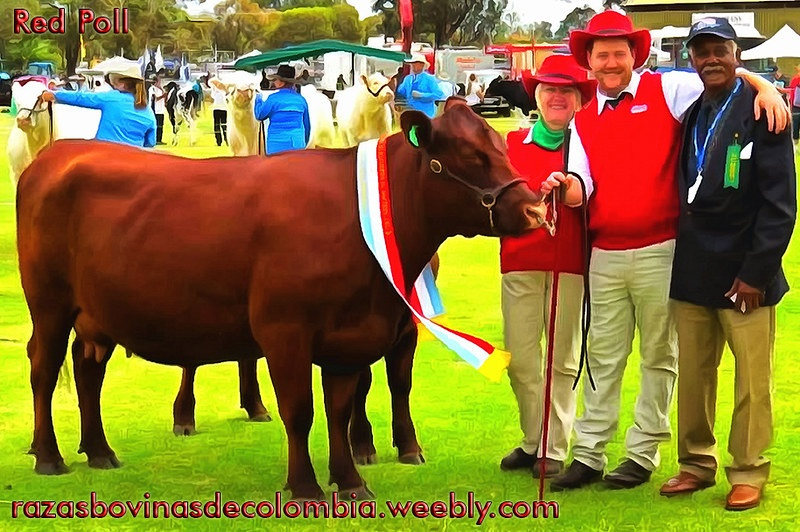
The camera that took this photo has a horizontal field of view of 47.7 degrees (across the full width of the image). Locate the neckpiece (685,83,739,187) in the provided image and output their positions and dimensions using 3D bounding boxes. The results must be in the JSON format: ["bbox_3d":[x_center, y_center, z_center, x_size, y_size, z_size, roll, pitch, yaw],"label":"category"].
[{"bbox_3d":[1.848,-0.798,5.425,0.323,0.514,0.100,9,9,-44],"label":"neckpiece"}]

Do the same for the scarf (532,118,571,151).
[{"bbox_3d":[0.938,-0.848,5.781,0.153,0.102,0.204,14,10,25],"label":"scarf"}]

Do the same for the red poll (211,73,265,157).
[{"bbox_3d":[-2.463,-2.207,14.140,0.731,1.422,0.491,-1,-19,-24],"label":"red poll"}]

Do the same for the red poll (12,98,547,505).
[{"bbox_3d":[-0.885,0.311,5.784,3.408,2.469,1.196,0,1,17],"label":"red poll"}]

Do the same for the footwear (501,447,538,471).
[{"bbox_3d":[0.798,1.311,6.103,0.285,0.126,0.109,1,5,4],"label":"footwear"}]

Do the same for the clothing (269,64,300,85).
[{"bbox_3d":[-1.824,-2.981,13.804,0.437,0.177,0.381,10,9,29],"label":"clothing"}]

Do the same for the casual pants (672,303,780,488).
[{"bbox_3d":[1.970,0.709,5.657,0.585,1.448,0.336,0,14,16],"label":"casual pants"}]

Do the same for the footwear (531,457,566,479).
[{"bbox_3d":[0.973,1.336,5.928,0.136,0.128,0.296,-3,-12,18],"label":"footwear"}]

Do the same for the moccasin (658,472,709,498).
[{"bbox_3d":[1.791,1.369,5.687,0.300,0.125,0.137,1,-5,-23],"label":"moccasin"}]

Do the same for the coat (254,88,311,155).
[{"bbox_3d":[-1.735,-2.171,13.740,0.784,0.995,0.722,-7,17,-27],"label":"coat"}]

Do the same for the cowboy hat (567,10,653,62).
[{"bbox_3d":[1.343,-1.459,5.732,0.352,0.165,0.411,1,-30,6],"label":"cowboy hat"}]

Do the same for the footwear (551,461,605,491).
[{"bbox_3d":[1.139,1.326,5.806,0.421,0.173,0.141,-3,1,-32],"label":"footwear"}]

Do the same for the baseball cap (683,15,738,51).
[{"bbox_3d":[1.877,-1.403,5.432,0.277,0.180,0.272,4,14,17],"label":"baseball cap"}]

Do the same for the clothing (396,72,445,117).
[{"bbox_3d":[0.385,-3.334,17.555,1.024,0.902,0.601,10,9,43],"label":"clothing"}]

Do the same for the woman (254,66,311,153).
[{"bbox_3d":[-1.798,-2.063,13.816,0.790,1.903,0.602,0,25,-10],"label":"woman"}]

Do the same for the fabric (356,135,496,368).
[{"bbox_3d":[0.047,0.003,5.358,0.361,1.460,0.765,-17,-1,29],"label":"fabric"}]

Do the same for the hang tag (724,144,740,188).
[{"bbox_3d":[1.967,-0.588,5.324,0.016,0.278,0.094,0,6,-40],"label":"hang tag"}]
